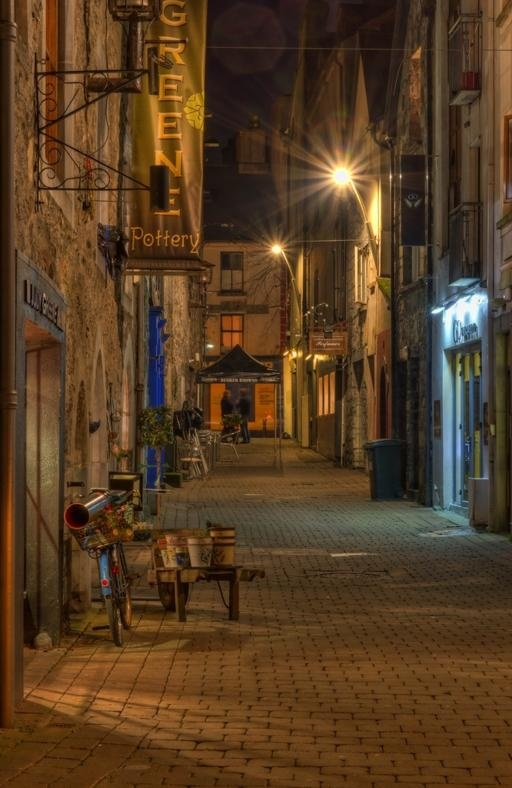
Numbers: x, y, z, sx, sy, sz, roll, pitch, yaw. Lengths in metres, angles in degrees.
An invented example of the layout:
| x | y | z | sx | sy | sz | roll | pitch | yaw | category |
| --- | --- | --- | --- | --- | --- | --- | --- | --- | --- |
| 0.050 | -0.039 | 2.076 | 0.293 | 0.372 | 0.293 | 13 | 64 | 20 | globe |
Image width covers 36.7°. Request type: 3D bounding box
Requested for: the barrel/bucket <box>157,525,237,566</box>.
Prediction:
| x | y | z | sx | sy | sz | roll | pitch | yaw | category |
| --- | --- | --- | --- | --- | --- | --- | --- | --- | --- |
| -0.497 | 1.278 | 6.501 | 0.531 | 0.343 | 0.388 | -1 | -6 | 6 | barrel/bucket |

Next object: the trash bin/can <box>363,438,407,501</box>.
| x | y | z | sx | sy | sz | roll | pitch | yaw | category |
| --- | --- | --- | --- | --- | --- | --- | --- | --- | --- |
| 3.280 | 1.887 | 19.591 | 0.759 | 1.684 | 1.028 | 0 | 0 | -3 | trash bin/can |

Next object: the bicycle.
| x | y | z | sx | sy | sz | roll | pitch | yaw | category |
| --- | --- | --- | --- | --- | --- | --- | --- | --- | --- |
| -1.158 | 1.278 | 5.837 | 0.438 | 1.125 | 1.014 | 1 | -6 | -3 | bicycle |

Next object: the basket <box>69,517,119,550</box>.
| x | y | z | sx | sy | sz | roll | pitch | yaw | category |
| --- | --- | --- | --- | --- | --- | --- | --- | --- | --- |
| -1.189 | 0.996 | 5.668 | 0.240 | 0.292 | 0.483 | -2 | -7 | 22 | basket |

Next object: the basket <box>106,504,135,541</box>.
| x | y | z | sx | sy | sz | roll | pitch | yaw | category |
| --- | --- | --- | --- | --- | --- | --- | --- | --- | --- |
| -1.054 | 0.995 | 5.918 | 0.216 | 0.271 | 0.053 | 10 | -16 | -40 | basket |
